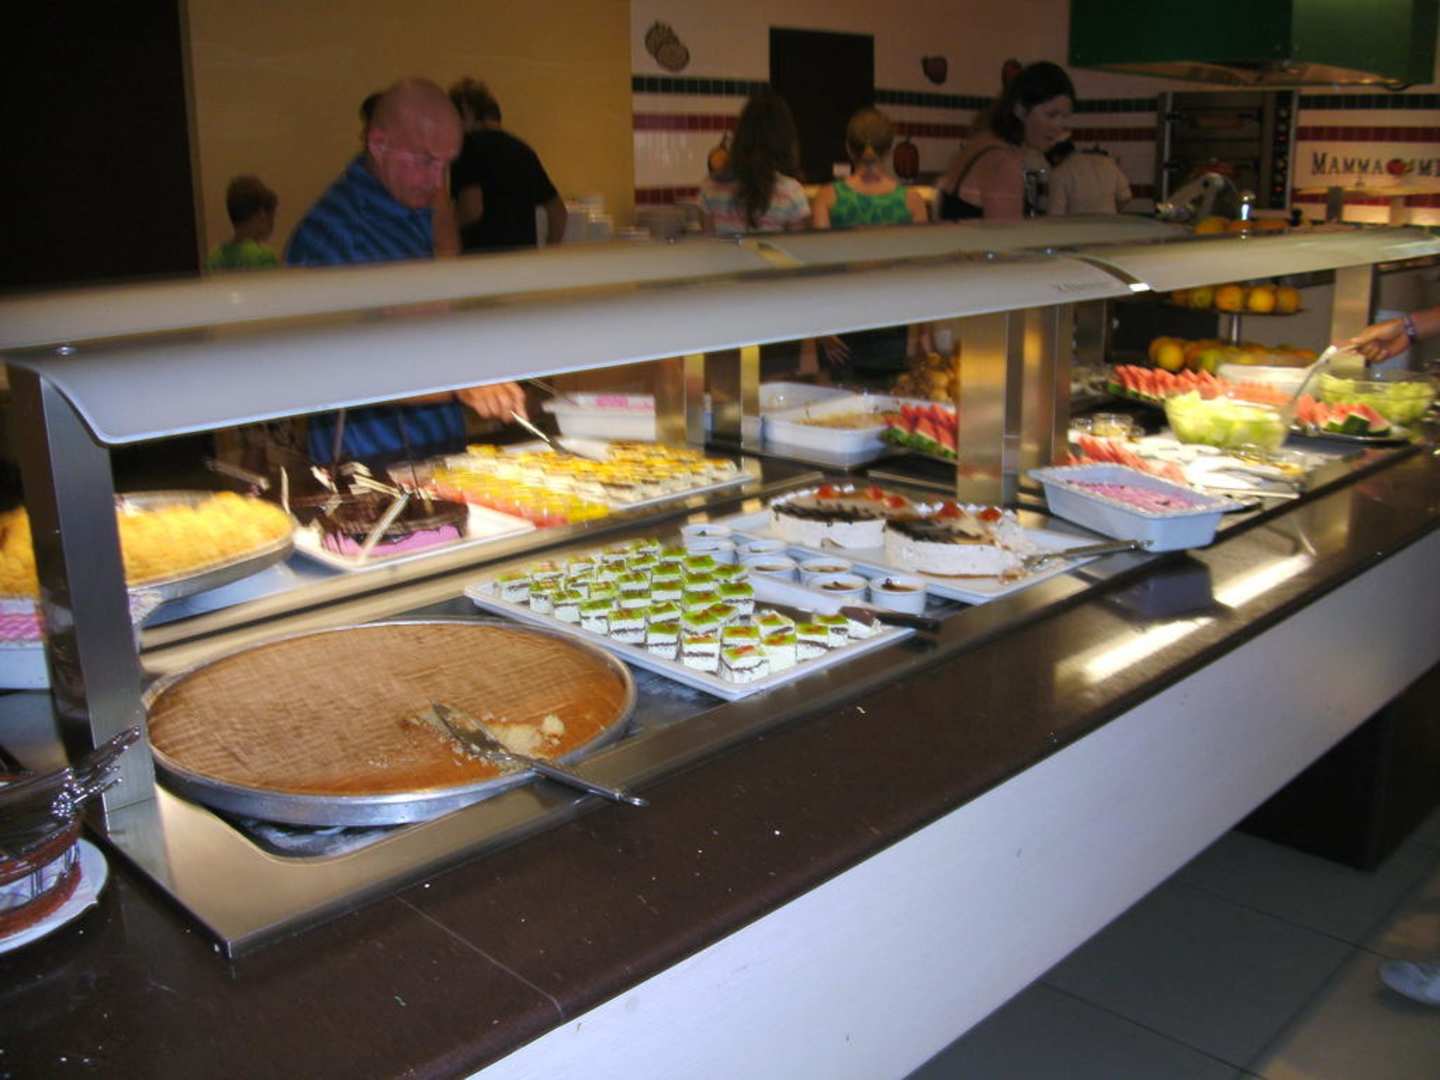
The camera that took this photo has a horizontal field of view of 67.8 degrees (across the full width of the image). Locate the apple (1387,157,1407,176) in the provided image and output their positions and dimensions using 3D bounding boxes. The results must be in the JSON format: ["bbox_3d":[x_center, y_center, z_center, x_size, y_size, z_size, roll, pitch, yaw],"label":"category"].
[{"bbox_3d":[5.166,-2.856,8.235,0.126,0.123,0.128,7,20,21],"label":"apple"}]

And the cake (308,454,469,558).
[{"bbox_3d":[-0.585,-0.070,1.883,0.258,0.085,0.383,-10,25,-21],"label":"cake"}]

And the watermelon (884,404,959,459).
[{"bbox_3d":[0.444,-0.243,2.359,0.129,0.054,0.131,16,27,28],"label":"watermelon"}]

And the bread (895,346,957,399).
[{"bbox_3d":[0.512,-0.401,2.641,0.126,0.040,0.131,-4,33,28],"label":"bread"}]

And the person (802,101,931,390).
[{"bbox_3d":[0.698,-1.136,5.197,0.510,1.664,0.510,2,18,6],"label":"person"}]

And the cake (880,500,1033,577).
[{"bbox_3d":[0.384,0.006,1.838,0.219,0.087,0.256,6,8,-6],"label":"cake"}]

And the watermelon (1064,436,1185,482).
[{"bbox_3d":[0.854,-0.175,2.268,0.142,0.069,0.206,-15,28,-35],"label":"watermelon"}]
